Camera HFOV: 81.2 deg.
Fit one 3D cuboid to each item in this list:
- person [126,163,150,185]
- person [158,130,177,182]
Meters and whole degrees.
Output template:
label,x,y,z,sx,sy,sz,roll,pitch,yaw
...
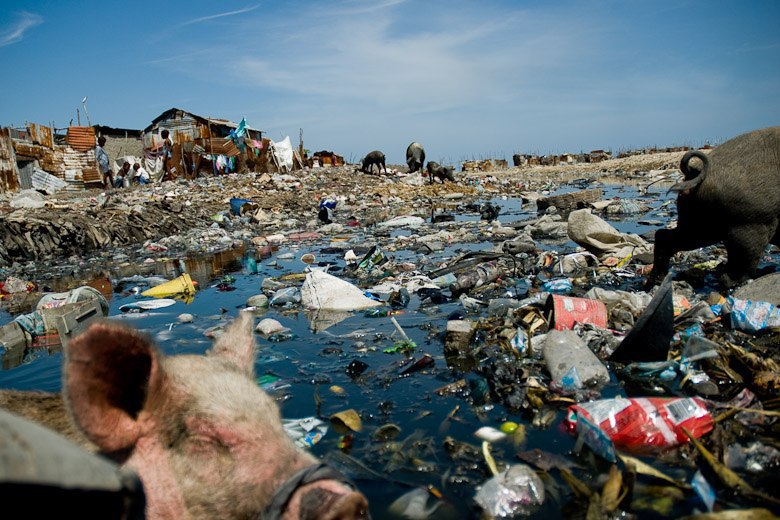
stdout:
label,x,y,z,sx,sy,sz,roll,pitch,yaw
person,-10.202,-3.461,18.396,0.802,0.839,0.474,-2,8,15
person,-9.265,-4.330,18.930,0.501,1.989,0.800,-9,9,-29
